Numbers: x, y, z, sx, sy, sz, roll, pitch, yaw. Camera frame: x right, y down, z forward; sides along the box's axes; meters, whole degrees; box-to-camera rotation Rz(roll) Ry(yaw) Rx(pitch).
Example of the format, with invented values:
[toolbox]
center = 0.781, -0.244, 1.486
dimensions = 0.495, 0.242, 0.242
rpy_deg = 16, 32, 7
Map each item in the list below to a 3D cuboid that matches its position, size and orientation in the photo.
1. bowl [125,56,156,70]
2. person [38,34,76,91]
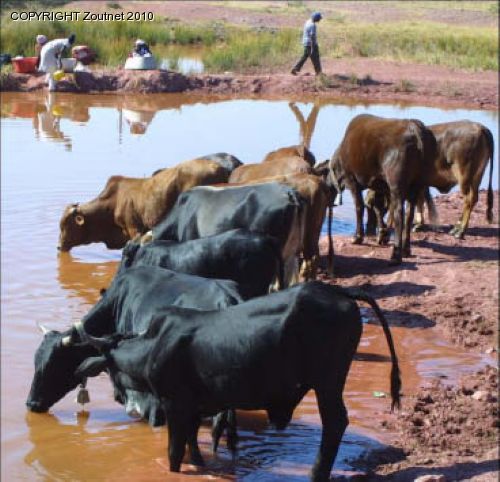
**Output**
[bowl]
center = -3.127, -5.142, 35.715
dimensions = 0.920, 0.418, 0.635
rpy_deg = 2, 12, -6
[person]
center = -5.217, -4.751, 33.230
dimensions = 0.827, 1.546, 1.970
rpy_deg = -1, 12, -14
